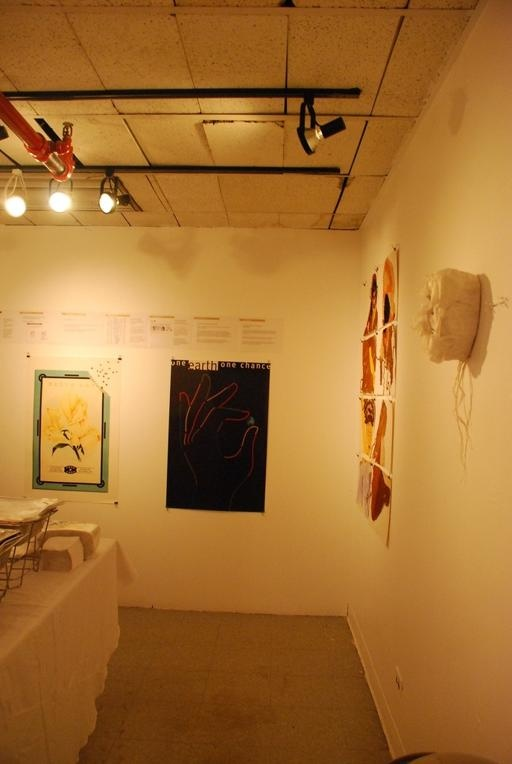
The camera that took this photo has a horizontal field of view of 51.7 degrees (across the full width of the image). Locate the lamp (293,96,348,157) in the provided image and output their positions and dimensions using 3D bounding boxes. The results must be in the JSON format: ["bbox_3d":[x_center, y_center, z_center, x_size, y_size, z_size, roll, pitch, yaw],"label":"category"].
[{"bbox_3d":[0.246,-0.983,2.015,0.094,0.208,0.117,-13,-40,20],"label":"lamp"}]
